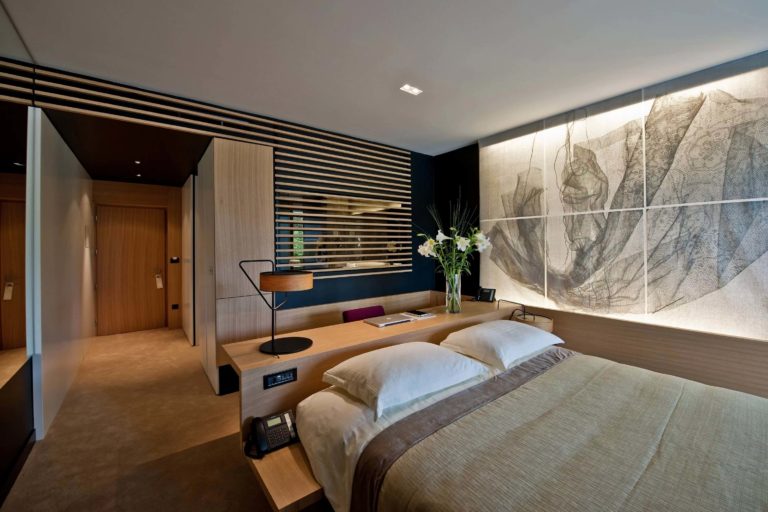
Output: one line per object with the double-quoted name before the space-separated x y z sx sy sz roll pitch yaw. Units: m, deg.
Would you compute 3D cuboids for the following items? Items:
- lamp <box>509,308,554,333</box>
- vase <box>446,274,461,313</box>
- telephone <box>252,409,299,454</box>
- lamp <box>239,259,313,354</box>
"lamp" 1.700 0.724 5.151 0.328 0.335 0.314 0 4 25
"vase" 0.765 0.403 4.997 0.147 0.428 0.078 -2 3 0
"telephone" -0.892 1.422 3.669 0.335 0.254 0.154 -12 -37 -30
"lamp" -1.022 0.440 4.064 0.684 0.817 0.581 -7 2 -43
